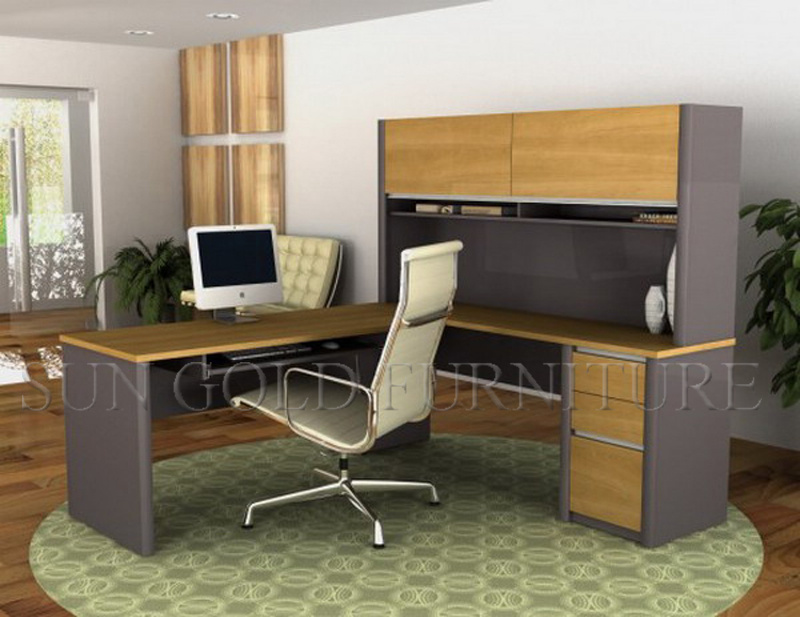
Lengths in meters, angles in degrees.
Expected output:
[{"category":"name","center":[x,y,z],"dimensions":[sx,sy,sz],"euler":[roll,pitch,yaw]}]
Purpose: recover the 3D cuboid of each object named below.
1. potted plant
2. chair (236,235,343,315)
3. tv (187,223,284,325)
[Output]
[{"category":"potted plant","center":[-3.107,-0.344,7.654],"dimensions":[1.426,0.763,1.320],"euler":[-2,5,-33]},{"category":"chair","center":[-1.268,-0.305,6.481],"dimensions":[0.989,0.725,1.060],"euler":[-14,19,-26]},{"category":"tv","center":[-1.006,-0.222,3.718],"dimensions":[0.263,0.531,0.677],"euler":[13,14,34]}]
